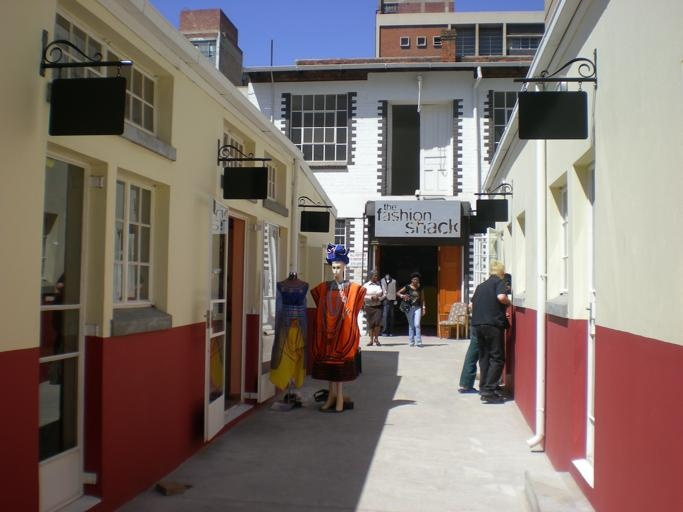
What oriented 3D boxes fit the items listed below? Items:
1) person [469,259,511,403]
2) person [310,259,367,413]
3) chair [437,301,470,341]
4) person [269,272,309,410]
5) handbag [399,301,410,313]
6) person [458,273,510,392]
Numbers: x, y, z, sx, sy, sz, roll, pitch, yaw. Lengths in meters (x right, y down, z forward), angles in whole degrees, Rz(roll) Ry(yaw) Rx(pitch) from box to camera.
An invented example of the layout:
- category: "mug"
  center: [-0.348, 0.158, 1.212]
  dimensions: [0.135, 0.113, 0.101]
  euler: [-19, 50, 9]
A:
- category: "person"
  center: [2.081, 1.070, 9.769]
  dimensions: [0.495, 1.918, 0.428]
  euler: [1, 1, 9]
- category: "person"
  center: [-0.057, 0.996, 9.337]
  dimensions: [0.689, 2.021, 1.203]
  euler: [0, 1, -2]
- category: "chair"
  center: [2.874, 1.671, 17.736]
  dimensions: [0.650, 1.033, 0.580]
  euler: [1, -7, 32]
- category: "person"
  center: [-0.699, 1.128, 9.273]
  dimensions: [0.471, 1.770, 0.874]
  euler: [0, 1, -4]
- category: "handbag"
  center: [1.488, 1.215, 16.330]
  dimensions: [0.167, 0.280, 0.096]
  euler: [4, -4, 22]
- category: "person"
  center: [2.171, 1.205, 10.747]
  dimensions: [0.500, 2.278, 0.546]
  euler: [-3, -35, 24]
